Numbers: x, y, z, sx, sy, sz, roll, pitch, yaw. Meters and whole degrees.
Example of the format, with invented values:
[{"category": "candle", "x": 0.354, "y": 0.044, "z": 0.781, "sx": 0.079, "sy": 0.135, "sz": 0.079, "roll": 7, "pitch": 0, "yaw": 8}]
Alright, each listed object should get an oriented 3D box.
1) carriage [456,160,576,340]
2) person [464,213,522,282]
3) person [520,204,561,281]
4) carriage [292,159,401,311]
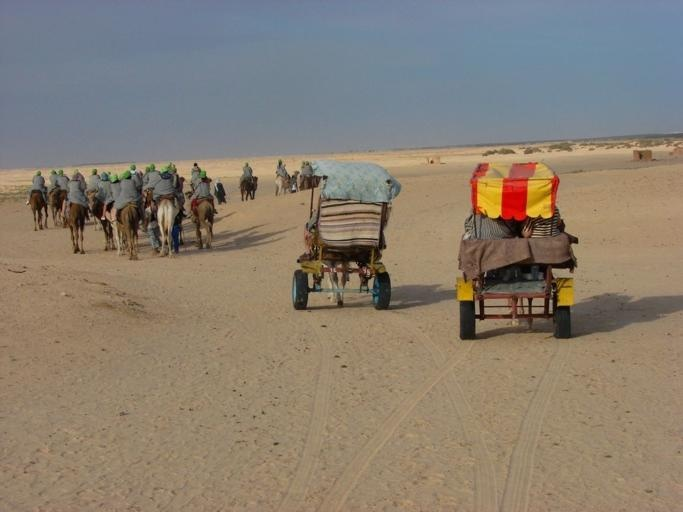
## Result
[{"category": "carriage", "x": 2.927, "y": -0.086, "z": 14.496, "sx": 1.848, "sy": 2.940, "sz": 2.109, "roll": 1, "pitch": 8, "yaw": 9}, {"category": "person", "x": 2.476, "y": -0.137, "z": 13.890, "sx": 1.107, "sy": 1.039, "sz": 0.428, "roll": 7, "pitch": -4, "yaw": 3}, {"category": "person", "x": 3.198, "y": -0.253, "z": 13.780, "sx": 0.859, "sy": 1.131, "sz": 0.428, "roll": 4, "pitch": -8, "yaw": 8}, {"category": "carriage", "x": -0.004, "y": -0.237, "z": 17.233, "sx": 2.011, "sy": 2.865, "sz": 3.179, "roll": 2, "pitch": -6, "yaw": -7}]
